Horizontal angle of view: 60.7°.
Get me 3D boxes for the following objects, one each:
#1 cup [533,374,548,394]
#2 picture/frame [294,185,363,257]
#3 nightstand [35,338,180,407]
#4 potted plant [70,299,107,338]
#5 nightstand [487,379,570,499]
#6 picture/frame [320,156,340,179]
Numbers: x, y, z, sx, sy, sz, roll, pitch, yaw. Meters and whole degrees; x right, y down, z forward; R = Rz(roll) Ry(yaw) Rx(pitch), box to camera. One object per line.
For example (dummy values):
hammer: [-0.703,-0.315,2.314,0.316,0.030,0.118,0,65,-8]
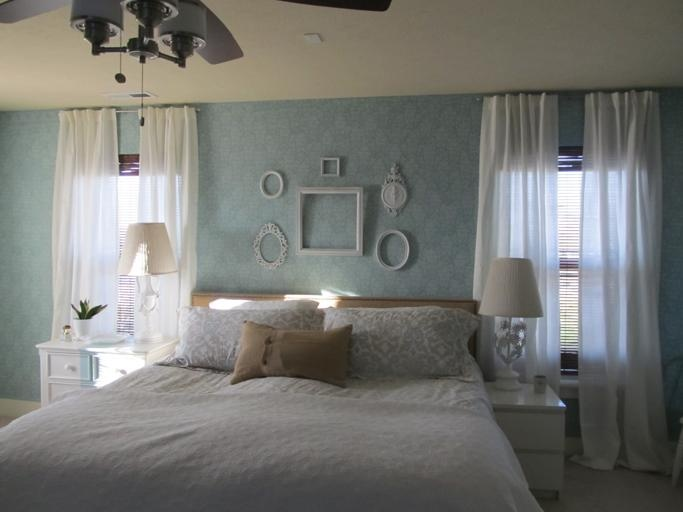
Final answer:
cup: [1.433,0.927,4.216,0.112,0.118,0.093,0,1,15]
picture/frame: [-0.086,-0.294,4.838,0.559,0.588,0.060,1,-1,4]
nightstand: [-1.940,0.717,4.786,0.829,0.809,0.567,0,-1,9]
potted plant: [-2.194,0.523,4.913,0.282,0.283,0.320,-1,-2,17]
nightstand: [1.343,1.313,4.285,0.732,0.721,0.576,-2,-9,14]
picture/frame: [-0.094,-0.733,4.828,0.163,0.173,0.045,-2,3,-1]
